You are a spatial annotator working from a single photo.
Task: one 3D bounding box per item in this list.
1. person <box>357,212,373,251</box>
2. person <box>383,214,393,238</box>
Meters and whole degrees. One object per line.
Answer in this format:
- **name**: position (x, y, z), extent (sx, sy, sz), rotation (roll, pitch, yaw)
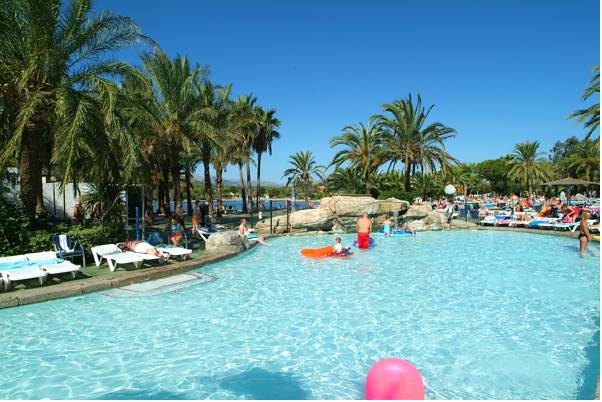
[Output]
- **person**: position (3.168, 1.489, 19.856), extent (0.595, 1.844, 0.524), rotation (0, 6, 4)
- **person**: position (5.275, 1.592, 24.321), extent (0.405, 0.985, 1.025), rotation (1, 6, 9)
